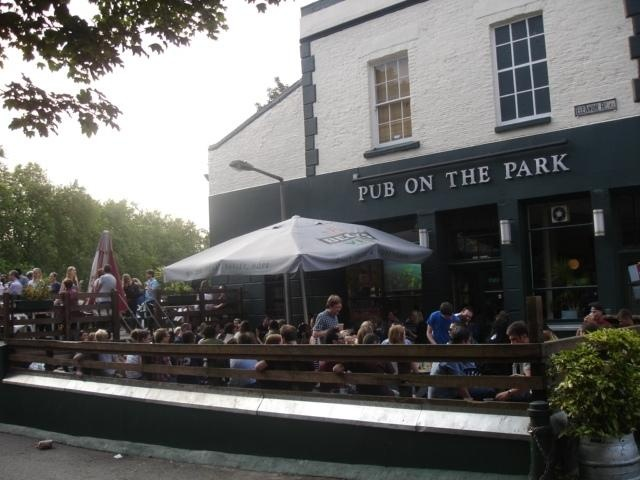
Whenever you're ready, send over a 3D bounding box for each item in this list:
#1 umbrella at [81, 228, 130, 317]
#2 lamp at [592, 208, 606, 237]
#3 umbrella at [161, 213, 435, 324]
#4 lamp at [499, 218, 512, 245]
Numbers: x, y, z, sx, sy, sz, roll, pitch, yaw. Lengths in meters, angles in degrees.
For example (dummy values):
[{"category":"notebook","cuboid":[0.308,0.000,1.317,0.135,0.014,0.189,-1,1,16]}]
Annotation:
[{"category":"umbrella","cuboid":[-5.334,0.754,15.306,1.167,1.963,0.962,14,18,36]},{"category":"lamp","cuboid":[5.509,-0.322,12.093,0.204,0.554,0.109,-4,-3,28]},{"category":"umbrella","cuboid":[-0.593,0.143,12.016,3.062,1.878,2.897,-5,7,-14]},{"category":"lamp","cuboid":[3.936,-0.147,13.013,0.240,0.558,0.181,-4,-3,30]}]
